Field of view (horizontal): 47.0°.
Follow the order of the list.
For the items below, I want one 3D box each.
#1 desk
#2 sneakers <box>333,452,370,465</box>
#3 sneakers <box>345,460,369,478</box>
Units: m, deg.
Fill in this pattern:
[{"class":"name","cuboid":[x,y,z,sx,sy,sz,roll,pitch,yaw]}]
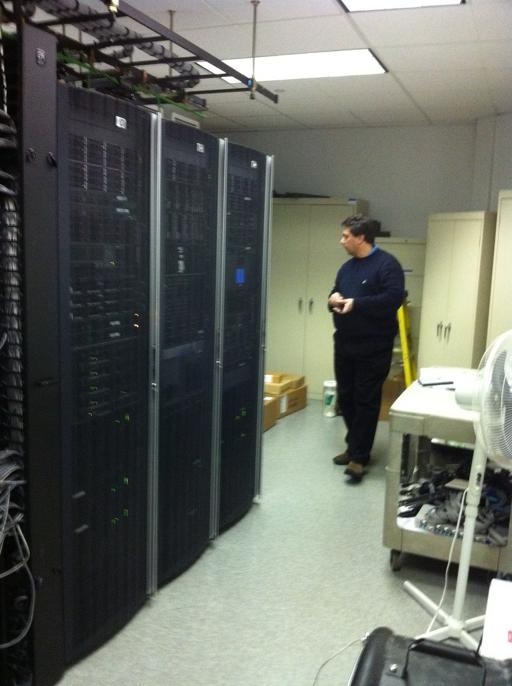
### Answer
[{"class":"desk","cuboid":[0.766,0.473,2.752,0.662,0.849,0.934,4,10,17]},{"class":"sneakers","cuboid":[0.636,0.761,3.941,0.272,0.111,0.089,8,-2,-34]},{"class":"sneakers","cuboid":[0.634,0.781,3.697,0.075,0.081,0.188,4,15,16]}]
